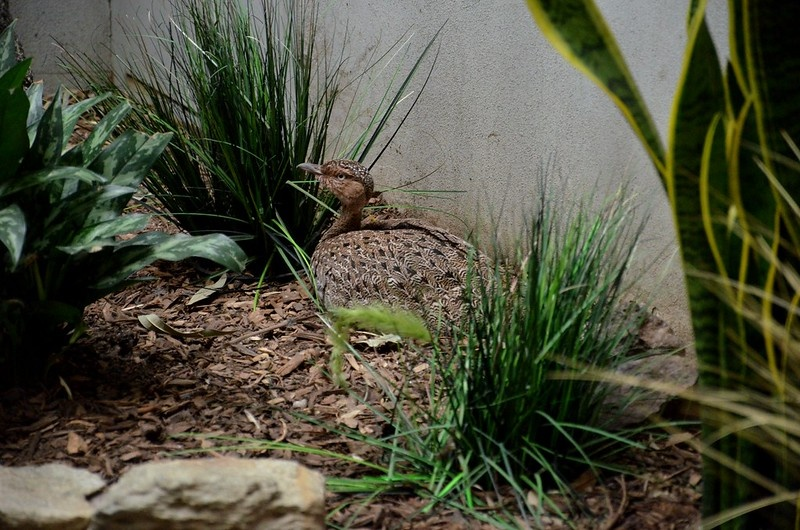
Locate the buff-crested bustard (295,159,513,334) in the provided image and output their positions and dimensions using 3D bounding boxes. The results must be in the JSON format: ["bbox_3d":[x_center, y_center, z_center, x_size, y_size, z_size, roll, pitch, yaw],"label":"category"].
[{"bbox_3d":[0.072,-0.052,3.427,1.101,0.769,0.681,9,22,23],"label":"buff-crested bustard"}]
